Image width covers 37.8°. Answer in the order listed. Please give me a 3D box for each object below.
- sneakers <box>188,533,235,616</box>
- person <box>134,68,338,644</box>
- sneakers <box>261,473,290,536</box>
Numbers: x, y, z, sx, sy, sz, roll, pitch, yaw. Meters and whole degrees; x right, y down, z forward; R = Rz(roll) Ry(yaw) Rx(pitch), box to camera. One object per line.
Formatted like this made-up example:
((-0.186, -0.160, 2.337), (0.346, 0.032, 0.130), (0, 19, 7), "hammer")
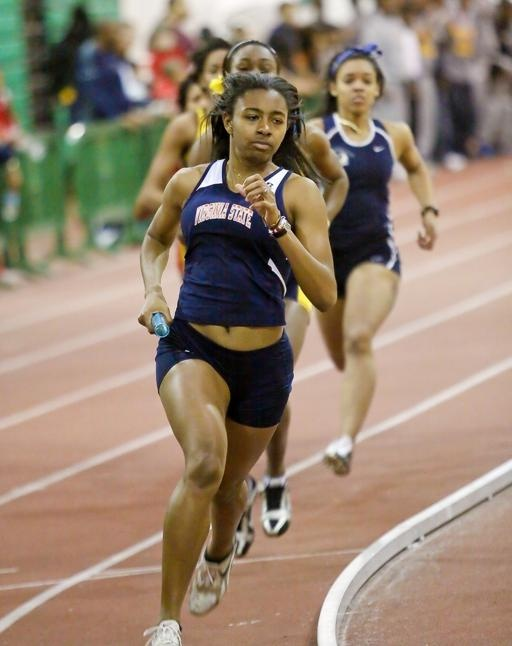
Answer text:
((-0.122, 0.709, 2.076), (0.084, 0.104, 0.255), (11, 60, 7), "sneakers")
((-0.055, 0.187, 1.927), (0.488, 1.568, 1.016), (-1, 20, -4), "person")
((0.072, 0.669, 2.721), (0.077, 0.101, 0.231), (-4, 54, 12), "sneakers")
